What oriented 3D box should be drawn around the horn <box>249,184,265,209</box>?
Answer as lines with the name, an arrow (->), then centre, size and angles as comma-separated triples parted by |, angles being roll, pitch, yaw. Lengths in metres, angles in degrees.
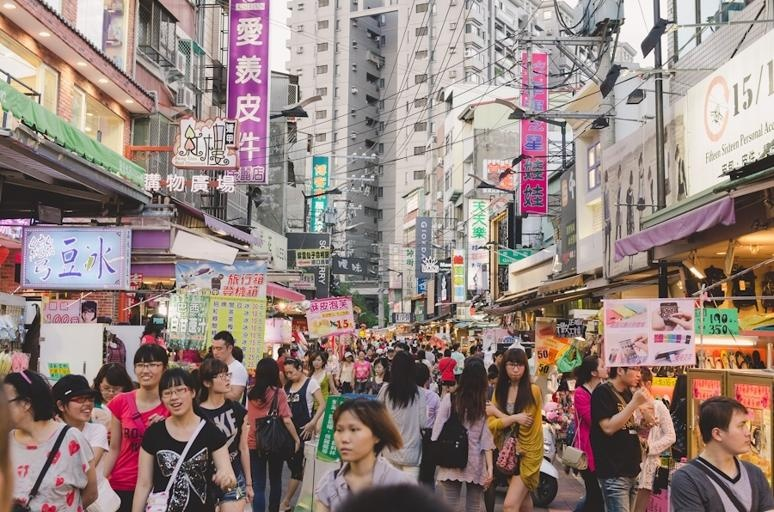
horn -> -5.532, -2.583, 35.372 | 0.590, 0.625, 1.030 | 2, -4, -34

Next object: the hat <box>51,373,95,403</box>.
hat -> -3.486, 1.481, 9.278 | 0.370, 0.203, 0.274 | 12, -11, -22

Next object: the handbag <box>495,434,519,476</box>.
handbag -> 1.634, 2.725, 11.287 | 0.279, 0.533, 0.365 | 8, -10, -17

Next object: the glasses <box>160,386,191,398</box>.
glasses -> -2.254, 1.482, 8.961 | 0.322, 0.137, 0.134 | 5, -13, -16

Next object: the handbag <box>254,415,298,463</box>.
handbag -> -1.628, 2.556, 11.905 | 0.620, 0.629, 0.302 | 4, 0, -20

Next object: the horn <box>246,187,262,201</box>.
horn -> -5.519, -2.694, 34.553 | 0.504, 0.640, 0.844 | -3, -7, 23

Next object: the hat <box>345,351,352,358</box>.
hat -> -1.051, 2.721, 22.542 | 0.245, 0.115, 0.372 | -2, -5, -8

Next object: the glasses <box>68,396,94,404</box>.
glasses -> -3.375, 1.612, 9.231 | 0.261, 0.085, 0.077 | 8, -14, -29
